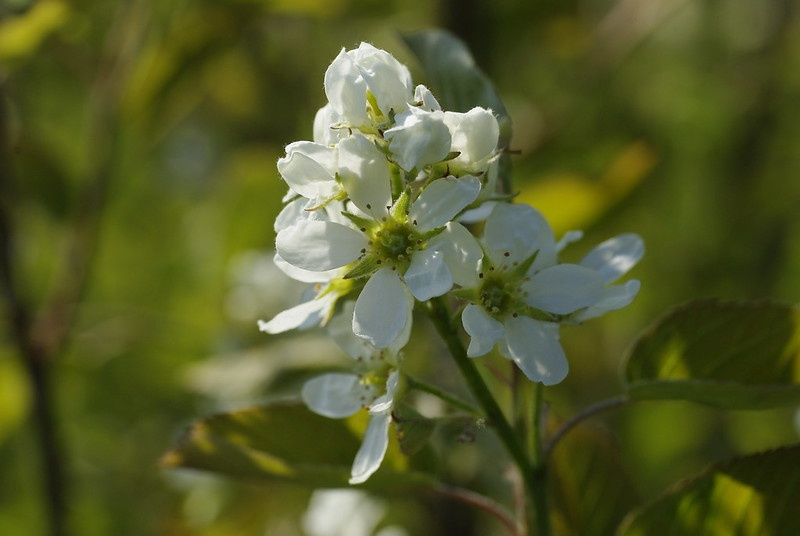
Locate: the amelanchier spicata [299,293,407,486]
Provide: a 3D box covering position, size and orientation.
[{"bbox_3d":[-0.096,0.294,2.747,0.141,0.408,0.338,-4,-12,-34],"label":"amelanchier spicata"}]
